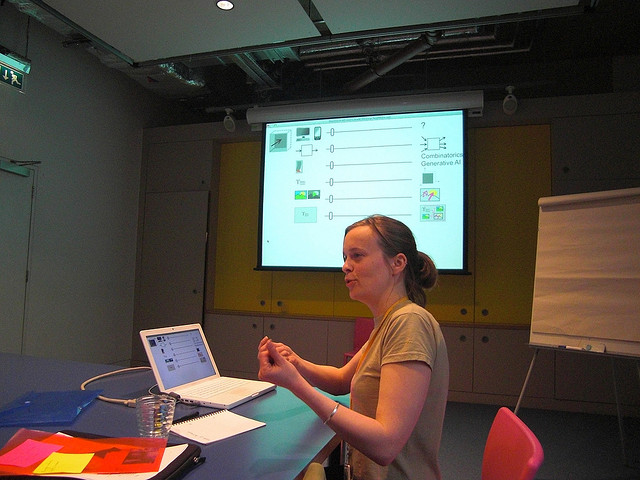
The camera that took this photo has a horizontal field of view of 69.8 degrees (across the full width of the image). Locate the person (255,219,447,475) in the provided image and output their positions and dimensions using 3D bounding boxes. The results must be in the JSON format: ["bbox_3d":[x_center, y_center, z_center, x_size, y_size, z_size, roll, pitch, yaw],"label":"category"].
[{"bbox_3d":[0.190,0.452,1.974,0.700,1.079,0.463,1,4,4],"label":"person"}]

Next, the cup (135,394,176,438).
[{"bbox_3d":[-0.657,0.699,1.864,0.146,0.178,0.158,0,-9,0],"label":"cup"}]

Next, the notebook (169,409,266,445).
[{"bbox_3d":[-0.452,0.813,1.995,0.382,0.036,0.211,-1,5,-31],"label":"notebook"}]

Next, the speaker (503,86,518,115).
[{"bbox_3d":[1.921,-1.428,4.618,0.133,0.320,0.260,3,4,23],"label":"speaker"}]

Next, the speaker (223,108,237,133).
[{"bbox_3d":[-1.026,-1.391,5.262,0.143,0.268,0.146,0,4,-13],"label":"speaker"}]

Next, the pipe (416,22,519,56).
[{"bbox_3d":[1.620,-2.092,4.870,1.061,0.171,0.447,7,1,18],"label":"pipe"}]

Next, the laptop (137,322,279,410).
[{"bbox_3d":[-0.567,0.607,2.340,0.560,0.348,0.539,-5,-8,31],"label":"laptop"}]

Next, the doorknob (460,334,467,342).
[{"bbox_3d":[1.404,0.964,4.492,0.069,0.077,0.017,12,4,26],"label":"doorknob"}]
